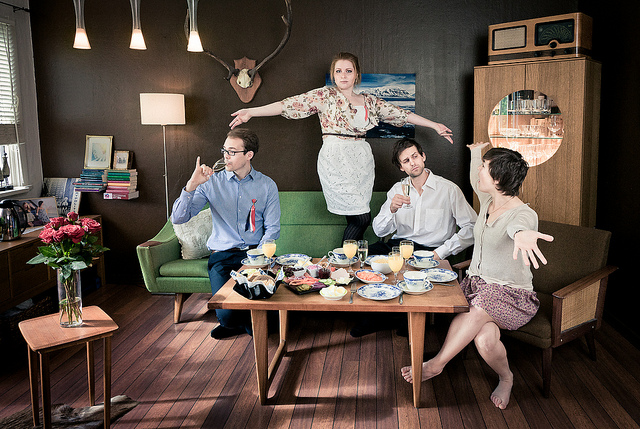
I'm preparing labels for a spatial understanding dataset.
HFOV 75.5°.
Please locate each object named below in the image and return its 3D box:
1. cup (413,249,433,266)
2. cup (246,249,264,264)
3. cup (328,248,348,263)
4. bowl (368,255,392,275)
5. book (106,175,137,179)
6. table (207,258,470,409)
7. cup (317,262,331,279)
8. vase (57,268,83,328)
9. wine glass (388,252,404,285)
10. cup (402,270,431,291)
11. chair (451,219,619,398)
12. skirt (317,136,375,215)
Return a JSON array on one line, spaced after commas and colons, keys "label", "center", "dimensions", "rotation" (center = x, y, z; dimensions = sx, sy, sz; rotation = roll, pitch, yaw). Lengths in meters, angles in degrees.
[{"label": "cup", "center": [0.697, 0.293, 2.780], "dimensions": [0.097, 0.063, 0.096], "rotation": [0, 1, 0]}, {"label": "cup", "center": [-0.428, 0.289, 2.773], "dimensions": [0.098, 0.066, 0.096], "rotation": [-1, 0, 0]}, {"label": "cup", "center": [0.140, 0.272, 2.837], "dimensions": [0.101, 0.072, 0.128], "rotation": [-2, 5, -3]}, {"label": "bowl", "center": [0.409, 0.342, 2.745], "dimensions": [0.113, 0.072, 0.121], "rotation": [0, 6, 0]}, {"label": "book", "center": [-2.160, -0.394, 4.475], "dimensions": [0.301, 0.051, 0.097], "rotation": [-2, 14, -3]}, {"label": "table", "center": [0.175, 0.764, 2.755], "dimensions": [1.470, 0.694, 0.764], "rotation": [0, 14, 6]}, {"label": "cup", "center": [0.029, 0.379, 2.668], "dimensions": [0.080, 0.078, 0.076], "rotation": [-1, 5, 0]}, {"label": "vase", "center": [-1.484, 0.488, 2.458], "dimensions": [0.180, 0.372, 0.175], "rotation": [-2, 6, -18]}, {"label": "wine glass", "center": [0.482, 0.327, 2.602], "dimensions": [0.098, 0.176, 0.254], "rotation": [1, 14, 11]}, {"label": "cup", "center": [0.579, 0.405, 2.495], "dimensions": [0.098, 0.057, 0.115], "rotation": [-5, 3, -41]}, {"label": "chair", "center": [1.643, 0.629, 3.105], "dimensions": [0.774, 0.941, 0.819], "rotation": [-12, 13, -22]}, {"label": "skirt", "center": [0.236, -0.330, 3.666], "dimensions": [0.484, 0.701, 0.178], "rotation": [-1, 15, 1]}]
